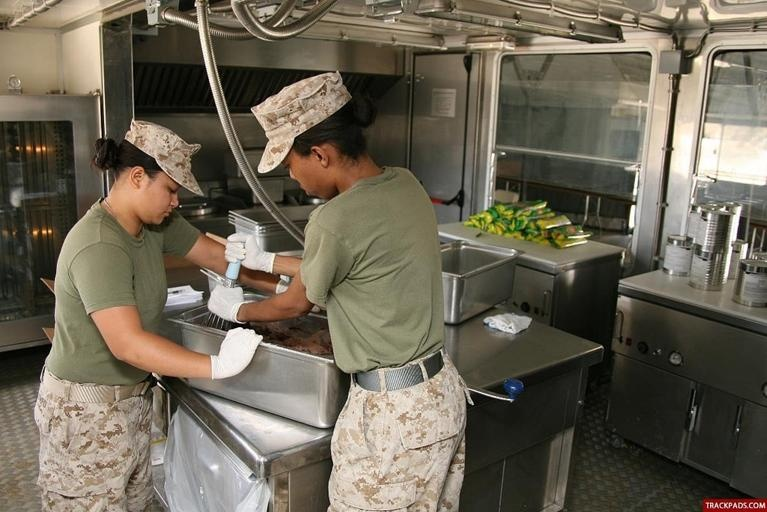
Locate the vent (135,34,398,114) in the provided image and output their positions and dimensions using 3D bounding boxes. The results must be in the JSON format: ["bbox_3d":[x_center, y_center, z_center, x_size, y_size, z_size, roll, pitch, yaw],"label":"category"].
[{"bbox_3d":[-1.165,-1.806,5.927,2.581,0.802,0.775,-8,12,-32],"label":"vent"}]

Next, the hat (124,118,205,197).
[{"bbox_3d":[-0.924,-0.412,2.472,0.290,0.308,0.222,-6,13,-23],"label":"hat"}]

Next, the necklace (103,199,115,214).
[{"bbox_3d":[-1.166,-0.214,2.481,0.014,0.056,0.057,-26,43,-8],"label":"necklace"}]

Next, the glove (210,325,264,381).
[{"bbox_3d":[-0.603,0.398,2.398,0.163,0.223,0.067,40,-6,6],"label":"glove"}]

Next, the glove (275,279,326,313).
[{"bbox_3d":[-0.408,0.183,2.793,0.247,0.137,0.162,13,22,38],"label":"glove"}]

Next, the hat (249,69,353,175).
[{"bbox_3d":[-0.351,-0.578,2.296,0.497,0.196,0.355,-36,22,0],"label":"hat"}]
